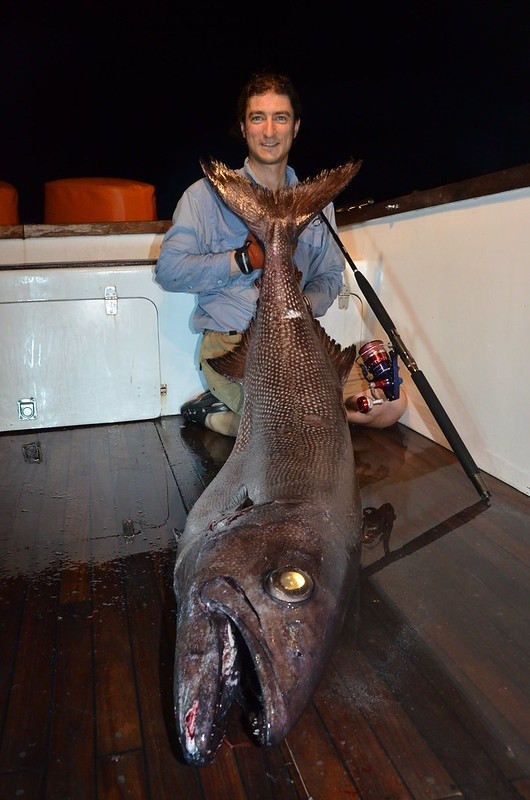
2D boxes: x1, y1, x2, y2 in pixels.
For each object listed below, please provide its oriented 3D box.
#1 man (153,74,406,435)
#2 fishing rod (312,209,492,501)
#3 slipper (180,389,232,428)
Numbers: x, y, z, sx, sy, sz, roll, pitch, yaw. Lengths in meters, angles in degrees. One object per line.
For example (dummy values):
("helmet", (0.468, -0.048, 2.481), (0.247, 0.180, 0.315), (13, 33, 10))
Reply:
("man", (0.017, -0.706, 2.760), (0.964, 1.725, 0.922), (-7, 27, -23))
("fishing rod", (0.691, -0.213, 2.572), (0.084, 0.084, 1.989), (13, 45, -33))
("slipper", (-0.364, 0.059, 3.217), (0.137, 0.153, 0.380), (24, -24, -23))
